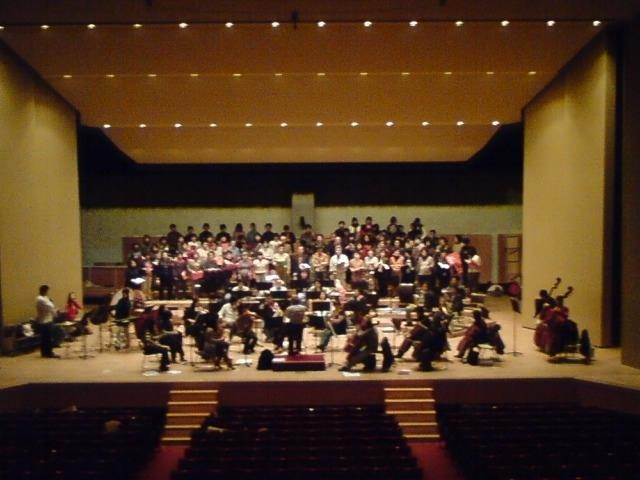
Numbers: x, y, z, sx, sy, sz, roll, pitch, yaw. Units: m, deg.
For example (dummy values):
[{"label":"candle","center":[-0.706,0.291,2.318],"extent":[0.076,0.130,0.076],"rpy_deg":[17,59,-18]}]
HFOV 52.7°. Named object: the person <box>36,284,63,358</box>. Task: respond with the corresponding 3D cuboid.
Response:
[{"label":"person","center":[-7.868,2.356,18.646],"extent":[0.632,2.041,0.594],"rpy_deg":[-2,2,1]}]
